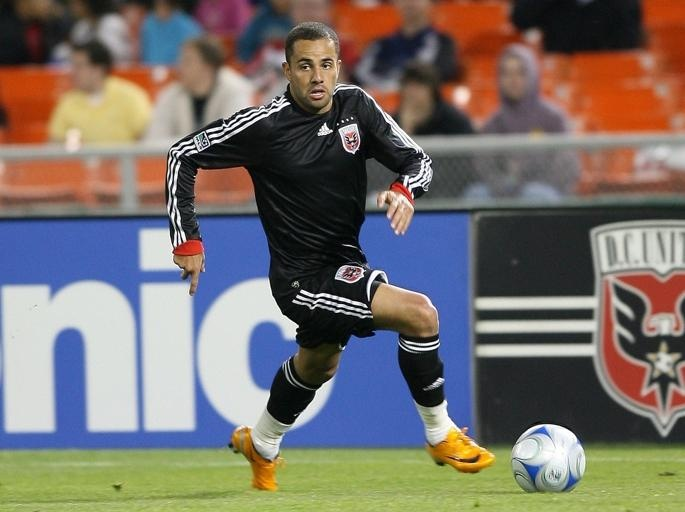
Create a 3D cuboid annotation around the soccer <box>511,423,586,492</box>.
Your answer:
[{"bbox_3d":[1.158,1.214,7.400,0.401,0.373,0.378,0,-18,-10],"label":"soccer"}]

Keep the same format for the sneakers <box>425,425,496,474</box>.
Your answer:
[{"bbox_3d":[0.695,1.160,7.518,0.228,0.263,0.544,-6,4,-39],"label":"sneakers"}]
